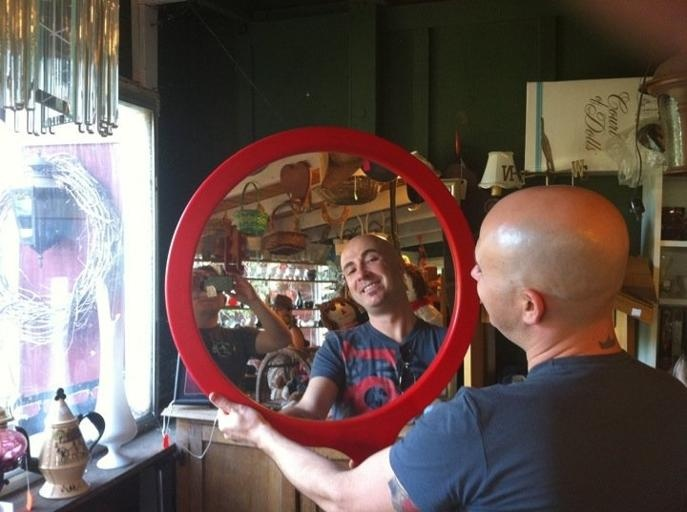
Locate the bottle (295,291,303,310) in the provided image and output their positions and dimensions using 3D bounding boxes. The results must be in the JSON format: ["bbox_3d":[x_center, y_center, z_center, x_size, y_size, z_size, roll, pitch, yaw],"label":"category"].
[{"bbox_3d":[-0.102,0.100,1.637,0.017,0.035,0.014,-5,-2,15],"label":"bottle"}]

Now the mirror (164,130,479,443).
[{"bbox_3d":[-0.026,0.140,1.698,0.716,0.994,0.055,-7,31,0],"label":"mirror"}]

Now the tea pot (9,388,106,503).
[{"bbox_3d":[-0.895,0.558,2.192,0.325,0.297,0.180,-1,-1,-39],"label":"tea pot"}]
